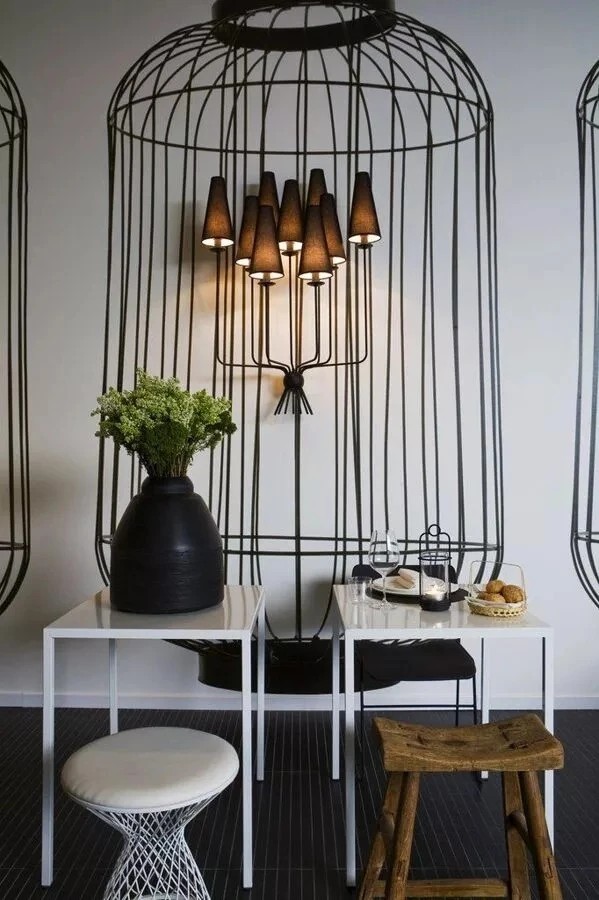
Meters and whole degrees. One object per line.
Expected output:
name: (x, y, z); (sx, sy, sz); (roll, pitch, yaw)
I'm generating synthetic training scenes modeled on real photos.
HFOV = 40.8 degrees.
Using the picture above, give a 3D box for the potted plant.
potted plant: (-0.350, 0.112, 2.129); (0.358, 0.622, 0.294); (0, 1, -16)

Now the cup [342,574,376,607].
cup: (0.167, 0.421, 2.398); (0.068, 0.076, 0.059); (-1, -2, 10)
